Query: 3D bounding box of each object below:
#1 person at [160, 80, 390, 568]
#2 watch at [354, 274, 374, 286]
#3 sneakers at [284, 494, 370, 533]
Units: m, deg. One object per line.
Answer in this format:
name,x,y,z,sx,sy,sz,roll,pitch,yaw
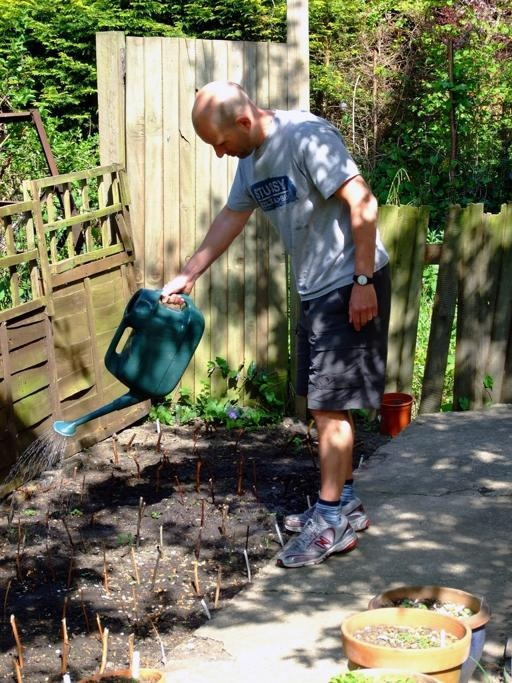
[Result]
person,0.197,-0.063,2.455,0.639,1.729,0.628,-4,7,9
watch,0.360,-0.206,2.153,0.058,0.031,0.053,7,7,27
sneakers,0.249,0.701,2.623,0.412,0.162,0.135,-3,7,3
